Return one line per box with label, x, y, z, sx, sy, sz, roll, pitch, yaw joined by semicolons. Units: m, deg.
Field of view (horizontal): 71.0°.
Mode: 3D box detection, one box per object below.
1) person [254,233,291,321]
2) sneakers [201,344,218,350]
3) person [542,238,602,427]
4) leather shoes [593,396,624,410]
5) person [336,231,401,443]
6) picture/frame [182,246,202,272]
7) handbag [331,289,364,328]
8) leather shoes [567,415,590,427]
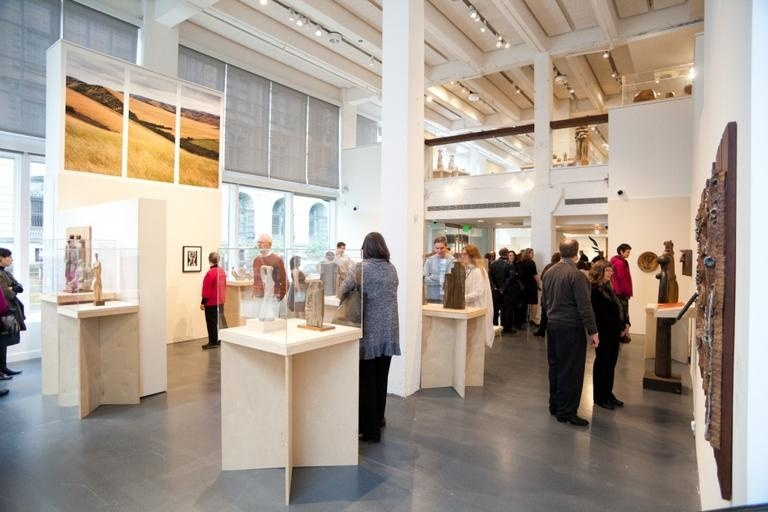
person;-1.238;0.210;5.820;0.363;0.865;0.212;-1;1;-5
sneakers;-3.356;1.733;10.368;0.303;0.129;0.108;3;-3;-22
person;2.476;1.005;7.259;0.651;2.444;0.496;-1;1;16
leather shoes;3.201;2.090;7.692;0.417;0.181;0.136;-15;-14;40
person;-0.162;1.009;6.734;0.900;2.607;0.319;-2;2;-36
picture/frame;-3.922;0.047;10.939;0.047;0.651;0.536;-1;0;35
handbag;-0.454;0.608;6.318;0.214;0.407;0.381;12;-4;23
leather shoes;2.545;2.188;7.201;0.338;0.153;0.116;-7;-3;13
